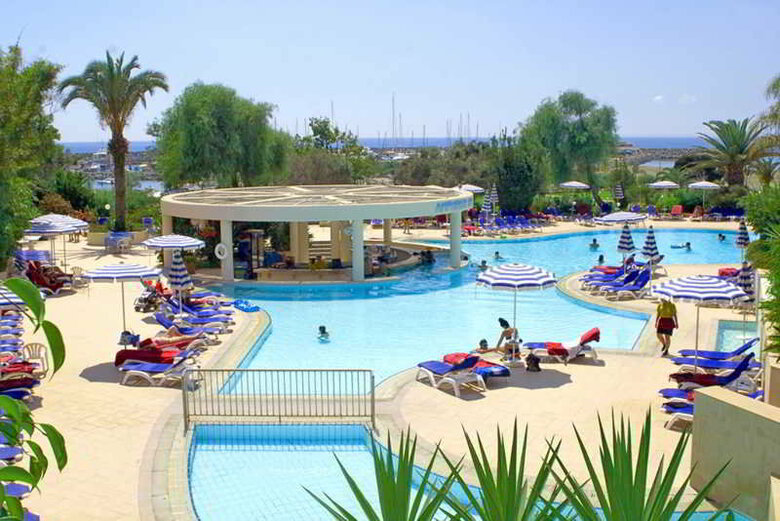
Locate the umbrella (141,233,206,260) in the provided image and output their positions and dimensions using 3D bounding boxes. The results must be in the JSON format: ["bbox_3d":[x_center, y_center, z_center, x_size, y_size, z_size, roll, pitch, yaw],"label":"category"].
[{"bbox_3d":[-7.583,-0.599,23.638,1.320,0.512,1.448,3,4,7],"label":"umbrella"}]

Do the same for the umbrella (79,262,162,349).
[{"bbox_3d":[-7.888,1.222,20.174,2.021,2.463,2.150,-3,13,-25],"label":"umbrella"}]

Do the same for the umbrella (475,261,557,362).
[{"bbox_3d":[3.275,1.356,18.519,2.121,2.676,2.279,1,5,15],"label":"umbrella"}]

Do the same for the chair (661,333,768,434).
[{"bbox_3d":[6.798,2.601,14.424,1.699,1.188,1.733,0,4,20],"label":"chair"}]

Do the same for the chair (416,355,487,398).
[{"bbox_3d":[1.357,2.604,16.186,0.823,0.750,1.340,-3,9,-34],"label":"chair"}]

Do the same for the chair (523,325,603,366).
[{"bbox_3d":[4.488,2.264,17.800,1.386,0.670,1.041,2,2,10],"label":"chair"}]

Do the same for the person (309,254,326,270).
[{"bbox_3d":[-3.208,0.073,29.681,0.617,0.461,1.077,-4,13,-13],"label":"person"}]

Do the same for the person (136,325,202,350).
[{"bbox_3d":[-5.819,2.110,18.096,0.987,0.329,0.785,0,3,-2],"label":"person"}]

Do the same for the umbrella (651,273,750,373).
[{"bbox_3d":[7.622,1.485,17.117,1.851,2.239,2.010,7,12,36],"label":"umbrella"}]

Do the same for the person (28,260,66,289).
[{"bbox_3d":[-12.835,0.611,25.461,1.375,1.178,1.061,-4,13,-12],"label":"person"}]

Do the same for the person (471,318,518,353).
[{"bbox_3d":[2.881,2.035,18.395,0.622,1.030,1.600,2,-3,-26],"label":"person"}]
